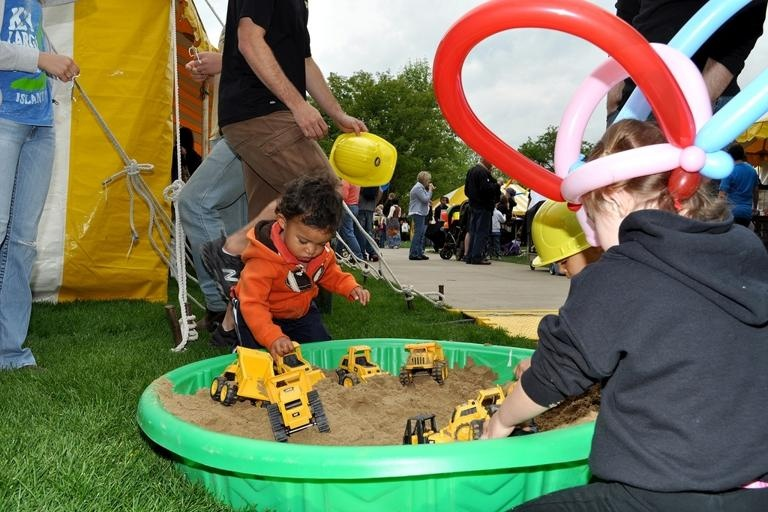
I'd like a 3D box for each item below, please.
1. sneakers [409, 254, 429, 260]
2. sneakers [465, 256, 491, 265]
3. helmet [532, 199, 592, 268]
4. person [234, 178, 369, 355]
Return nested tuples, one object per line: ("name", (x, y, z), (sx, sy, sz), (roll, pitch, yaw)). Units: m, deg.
("sneakers", (0.658, 0.031, 12.717), (0.366, 0.149, 0.123), (0, 4, -5))
("sneakers", (1.613, 0.076, 11.535), (0.457, 0.189, 0.154), (-2, 4, 4))
("helmet", (0.726, -0.079, 2.969), (0.300, 0.195, 0.229), (-16, 11, 25))
("person", (-0.408, 0.064, 3.591), (0.754, 0.982, 0.610), (-6, 14, -43))
